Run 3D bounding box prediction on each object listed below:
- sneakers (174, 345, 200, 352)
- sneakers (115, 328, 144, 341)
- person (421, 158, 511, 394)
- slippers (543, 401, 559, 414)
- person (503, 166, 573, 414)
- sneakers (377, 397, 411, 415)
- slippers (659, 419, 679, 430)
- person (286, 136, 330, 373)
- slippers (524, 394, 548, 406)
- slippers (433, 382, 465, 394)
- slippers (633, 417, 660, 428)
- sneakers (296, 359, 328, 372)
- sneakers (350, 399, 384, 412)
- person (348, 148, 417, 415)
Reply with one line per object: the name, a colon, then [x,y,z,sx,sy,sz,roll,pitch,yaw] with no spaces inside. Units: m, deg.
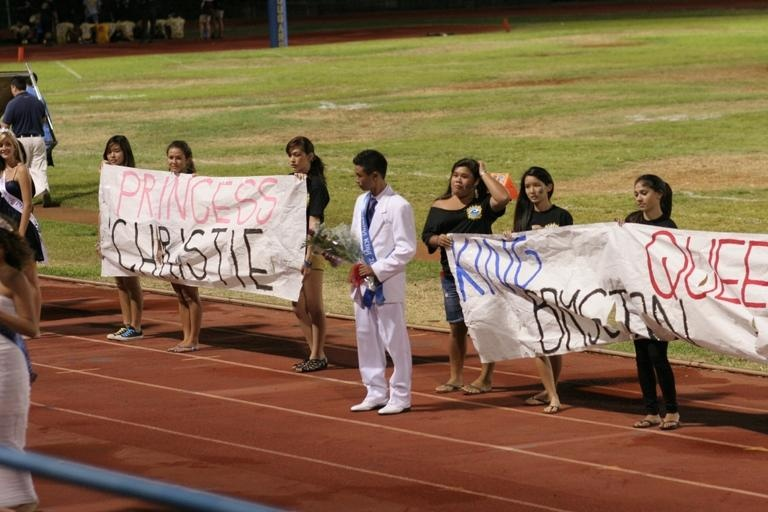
sneakers: [-2.561,1.188,14.783,0.308,0.093,0.095,2,-1,-5]
sneakers: [-3.424,1.039,15.261,0.391,0.121,0.137,2,4,-40]
person: [0.965,0.222,13.274,0.977,2.735,0.688,-3,15,1]
slippers: [1.861,1.667,12.731,0.195,0.117,0.210,4,14,23]
person: [1.817,0.316,12.983,0.672,2.677,1.231,-2,15,5]
sneakers: [0.126,1.667,12.719,0.418,0.126,0.135,-1,2,-19]
slippers: [3.079,1.787,12.222,0.271,0.100,0.107,-5,14,-16]
person: [-0.922,-0.007,13.945,0.553,2.862,1.045,-4,15,-3]
slippers: [1.730,1.627,12.969,0.266,0.047,0.104,0,8,-9]
slippers: [0.761,1.539,13.377,0.294,0.060,0.118,0,3,-16]
slippers: [2.844,1.783,12.283,0.299,0.092,0.111,-1,1,-1]
sneakers: [-0.885,1.339,14.025,0.356,0.106,0.154,1,2,-26]
sneakers: [-0.178,1.661,12.804,0.436,0.130,0.135,-2,8,-12]
person: [-0.018,0.286,12.603,0.755,2.880,0.727,-3,15,1]
